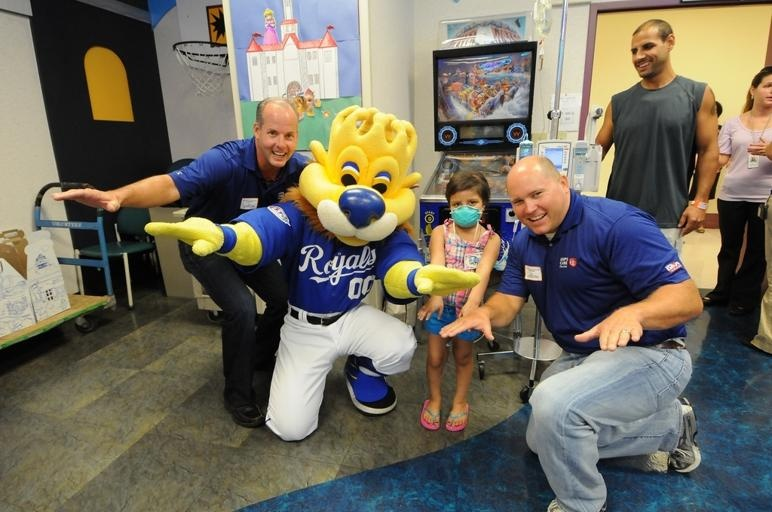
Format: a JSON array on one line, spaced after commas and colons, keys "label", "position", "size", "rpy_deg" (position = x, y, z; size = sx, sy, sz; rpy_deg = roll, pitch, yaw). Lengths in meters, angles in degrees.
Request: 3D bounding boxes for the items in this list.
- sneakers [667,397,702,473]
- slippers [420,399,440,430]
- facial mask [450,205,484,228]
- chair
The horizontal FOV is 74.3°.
[{"label": "sneakers", "position": [1.729, 1.089, 3.033], "size": [0.164, 0.467, 0.203], "rpy_deg": [5, 11, 42]}, {"label": "slippers", "position": [0.286, 1.010, 3.285], "size": [0.097, 0.056, 0.188], "rpy_deg": [0, 43, 4]}, {"label": "facial mask", "position": [0.499, -0.260, 3.199], "size": [0.154, 0.125, 0.147], "rpy_deg": [3, 10, 13]}, {"label": "chair", "position": [-2.500, -0.033, 4.861], "size": [0.590, 0.860, 0.621], "rpy_deg": [3, 14, 4]}]
